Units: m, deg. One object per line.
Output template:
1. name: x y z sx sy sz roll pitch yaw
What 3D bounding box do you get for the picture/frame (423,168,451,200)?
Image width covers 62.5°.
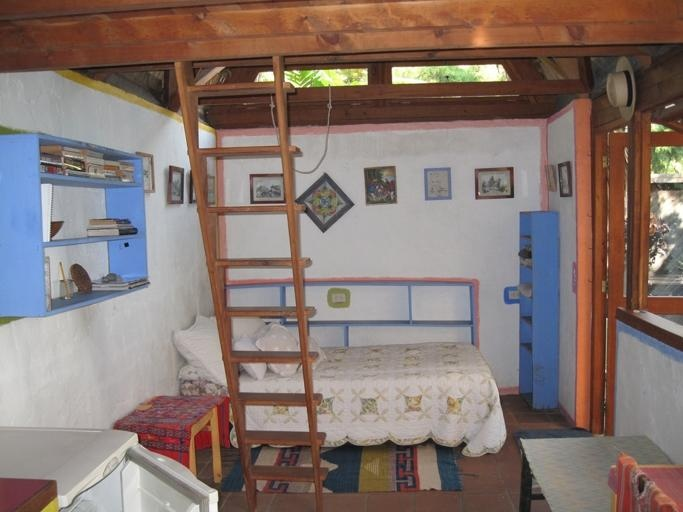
1. picture/frame: 1.064 -0.789 6.112 0.331 0.387 0.038 -1 2 4

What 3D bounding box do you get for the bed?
1. bed: 0.339 1.225 5.027 1.915 0.468 1.229 0 3 5

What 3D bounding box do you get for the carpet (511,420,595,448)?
1. carpet: 1.645 1.375 4.337 0.479 0.126 0.473 0 -2 -6

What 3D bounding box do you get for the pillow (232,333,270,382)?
1. pillow: -0.758 0.869 4.878 0.133 0.468 0.330 -16 33 17

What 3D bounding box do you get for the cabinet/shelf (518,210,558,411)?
1. cabinet/shelf: 2.037 0.534 5.807 0.344 1.976 0.768 0 12 5

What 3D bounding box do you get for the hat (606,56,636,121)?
1. hat: 2.072 -1.225 4.142 0.099 0.396 0.376 -6 24 7

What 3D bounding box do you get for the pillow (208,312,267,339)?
1. pillow: -0.929 0.684 5.477 0.272 0.086 0.289 16 19 12

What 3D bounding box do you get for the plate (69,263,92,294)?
1. plate: -1.702 0.151 3.695 0.034 0.172 0.171 -14 -13 7

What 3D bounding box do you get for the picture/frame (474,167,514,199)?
1. picture/frame: 1.667 -0.792 6.055 0.328 0.280 0.024 -1 1 3

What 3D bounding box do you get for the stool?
1. stool: -1.272 1.326 4.509 0.709 0.543 0.722 0 2 9
